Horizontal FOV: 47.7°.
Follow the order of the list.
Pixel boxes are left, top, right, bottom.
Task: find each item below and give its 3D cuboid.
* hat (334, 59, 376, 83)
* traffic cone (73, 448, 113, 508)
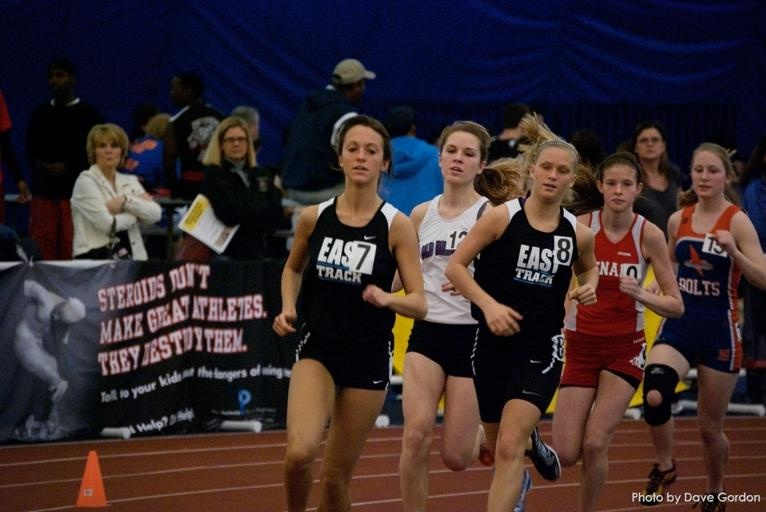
[{"bbox_3d":[-0.326,-2.180,10.368,0.506,0.278,0.352,-3,20,-29],"label":"hat"},{"bbox_3d":[-2.675,1.936,7.940,0.271,0.516,0.593,-2,10,-20],"label":"traffic cone"}]
